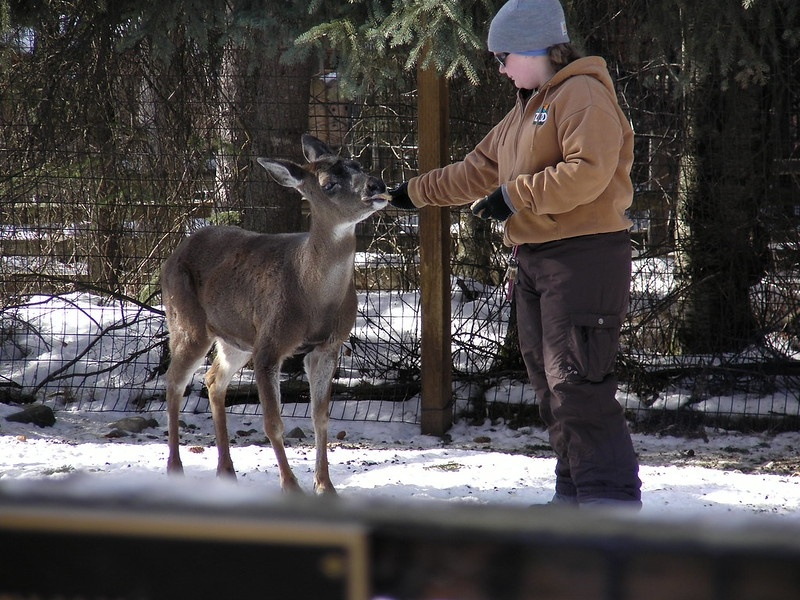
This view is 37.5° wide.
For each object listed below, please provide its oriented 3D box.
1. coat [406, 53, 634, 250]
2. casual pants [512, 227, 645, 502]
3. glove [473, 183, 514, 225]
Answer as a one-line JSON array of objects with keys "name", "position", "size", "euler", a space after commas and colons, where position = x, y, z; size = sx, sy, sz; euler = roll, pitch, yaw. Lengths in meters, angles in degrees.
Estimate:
[{"name": "coat", "position": [0.791, -1.005, 8.129], "size": [1.147, 1.283, 1.866], "euler": [-2, 3, -38]}, {"name": "casual pants", "position": [1.186, 0.452, 7.866], "size": [0.823, 1.813, 0.428], "euler": [0, -2, 13]}, {"name": "glove", "position": [0.646, -0.638, 7.809], "size": [0.205, 0.250, 0.088], "euler": [-13, 4, 32]}]
